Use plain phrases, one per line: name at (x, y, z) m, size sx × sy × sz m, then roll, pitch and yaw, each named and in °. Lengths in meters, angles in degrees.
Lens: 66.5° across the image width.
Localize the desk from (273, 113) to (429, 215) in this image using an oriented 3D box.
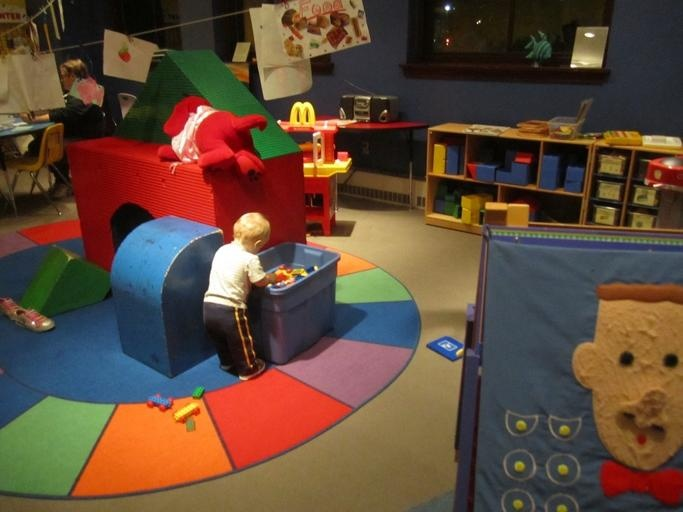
desk at (0.199, -1.044, 5.933) m, size 1.503 × 0.979 × 0.817 m, roll -7°, pitch 21°, yaw -22°

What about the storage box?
storage box at (-0.327, 0.380, 3.581) m, size 0.549 × 0.509 × 0.740 m, roll -15°, pitch 7°, yaw 7°

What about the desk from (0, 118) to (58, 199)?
desk at (-3.767, -1.165, 6.288) m, size 0.657 × 0.974 × 0.614 m, roll 6°, pitch 26°, yaw -12°

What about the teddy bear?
teddy bear at (-0.902, -0.806, 3.489) m, size 0.797 × 0.483 × 0.493 m, roll 12°, pitch 22°, yaw 29°

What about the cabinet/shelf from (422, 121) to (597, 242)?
cabinet/shelf at (1.632, -0.762, 5.281) m, size 1.649 × 1.056 × 0.577 m, roll 12°, pitch 22°, yaw 28°
